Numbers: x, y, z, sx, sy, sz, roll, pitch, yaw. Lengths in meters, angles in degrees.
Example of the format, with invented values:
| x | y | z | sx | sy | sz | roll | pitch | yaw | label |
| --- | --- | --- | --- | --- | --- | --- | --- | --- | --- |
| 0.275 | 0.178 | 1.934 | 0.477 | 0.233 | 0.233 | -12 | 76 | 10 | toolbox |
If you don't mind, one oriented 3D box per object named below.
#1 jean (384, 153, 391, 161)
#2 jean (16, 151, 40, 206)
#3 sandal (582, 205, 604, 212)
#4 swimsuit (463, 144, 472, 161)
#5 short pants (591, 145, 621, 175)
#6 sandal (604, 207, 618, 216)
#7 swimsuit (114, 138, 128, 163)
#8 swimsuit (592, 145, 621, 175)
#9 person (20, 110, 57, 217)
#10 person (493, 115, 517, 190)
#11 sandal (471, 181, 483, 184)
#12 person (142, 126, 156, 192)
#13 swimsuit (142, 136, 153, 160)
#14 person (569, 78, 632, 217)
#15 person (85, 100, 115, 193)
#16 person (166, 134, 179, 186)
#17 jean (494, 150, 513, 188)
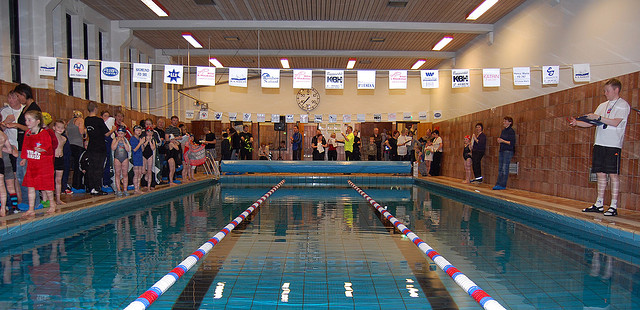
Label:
| x | y | z | sx | sy | sz | roll | pitch | yaw | label |
| --- | --- | --- | --- | --- | --- | --- | --- | --- | --- |
| 2.961 | 0.075 | 18.308 | 0.324 | 0.420 | 0.288 | -1 | -2 | -24 | jean |
| -7.525 | 0.577 | 10.540 | 0.453 | 1.389 | 0.994 | -3 | 7 | -34 | jean |
| 6.816 | 1.328 | 10.245 | 0.499 | 0.150 | 0.157 | 1 | 1 | 19 | sandal |
| 5.303 | -0.112 | 14.733 | 0.200 | 0.535 | 0.279 | 1 | 6 | 3 | swimsuit |
| 7.212 | 0.087 | 10.214 | 0.519 | 0.685 | 0.775 | 4 | 2 | -15 | short pants |
| 7.144 | 1.366 | 10.037 | 0.521 | 0.192 | 0.172 | -2 | 6 | -25 | sandal |
| -5.574 | -0.060 | 11.448 | 0.349 | 0.485 | 0.210 | 3 | 16 | -13 | swimsuit |
| 7.019 | 0.101 | 10.055 | 0.537 | 0.797 | 0.732 | 6 | -6 | -24 | swimsuit |
| -6.830 | 0.188 | 9.879 | 0.663 | 2.497 | 0.372 | -1 | 7 | -21 | person |
| 5.872 | -0.063 | 13.080 | 0.533 | 2.297 | 0.500 | 3 | 7 | 20 | person |
| 5.510 | 0.962 | 14.513 | 0.334 | 0.108 | 0.101 | -1 | -1 | 14 | sandal |
| -5.184 | 0.101 | 12.376 | 0.345 | 1.940 | 0.807 | -1 | 7 | -21 | person |
| -5.158 | -0.138 | 12.252 | 0.264 | 0.377 | 0.108 | 5 | -5 | 12 | swimsuit |
| 6.951 | -0.200 | 10.091 | 0.925 | 3.302 | 0.712 | 5 | 7 | 29 | person |
| -6.282 | -0.183 | 11.581 | 0.582 | 2.592 | 0.744 | -3 | 7 | -34 | person |
| -4.912 | 0.138 | 13.678 | 0.327 | 1.653 | 0.541 | -1 | 6 | -18 | person |
| 5.910 | 0.428 | 13.142 | 0.390 | 1.210 | 0.465 | 2 | 6 | 6 | jean |
